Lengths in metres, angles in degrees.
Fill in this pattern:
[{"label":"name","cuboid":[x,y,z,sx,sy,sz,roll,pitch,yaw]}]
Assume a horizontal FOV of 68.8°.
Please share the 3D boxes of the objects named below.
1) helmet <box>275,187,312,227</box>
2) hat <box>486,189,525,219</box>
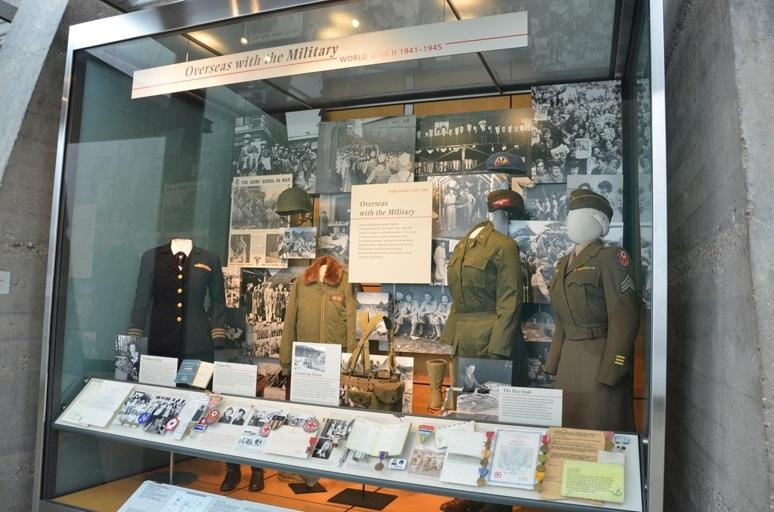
[{"label":"helmet","cuboid":[-0.512,-0.288,3.180,0.190,0.216,0.229,4,18,33]},{"label":"hat","cuboid":[0.602,-0.267,2.853,0.173,0.132,0.124,-1,-2,12]}]
